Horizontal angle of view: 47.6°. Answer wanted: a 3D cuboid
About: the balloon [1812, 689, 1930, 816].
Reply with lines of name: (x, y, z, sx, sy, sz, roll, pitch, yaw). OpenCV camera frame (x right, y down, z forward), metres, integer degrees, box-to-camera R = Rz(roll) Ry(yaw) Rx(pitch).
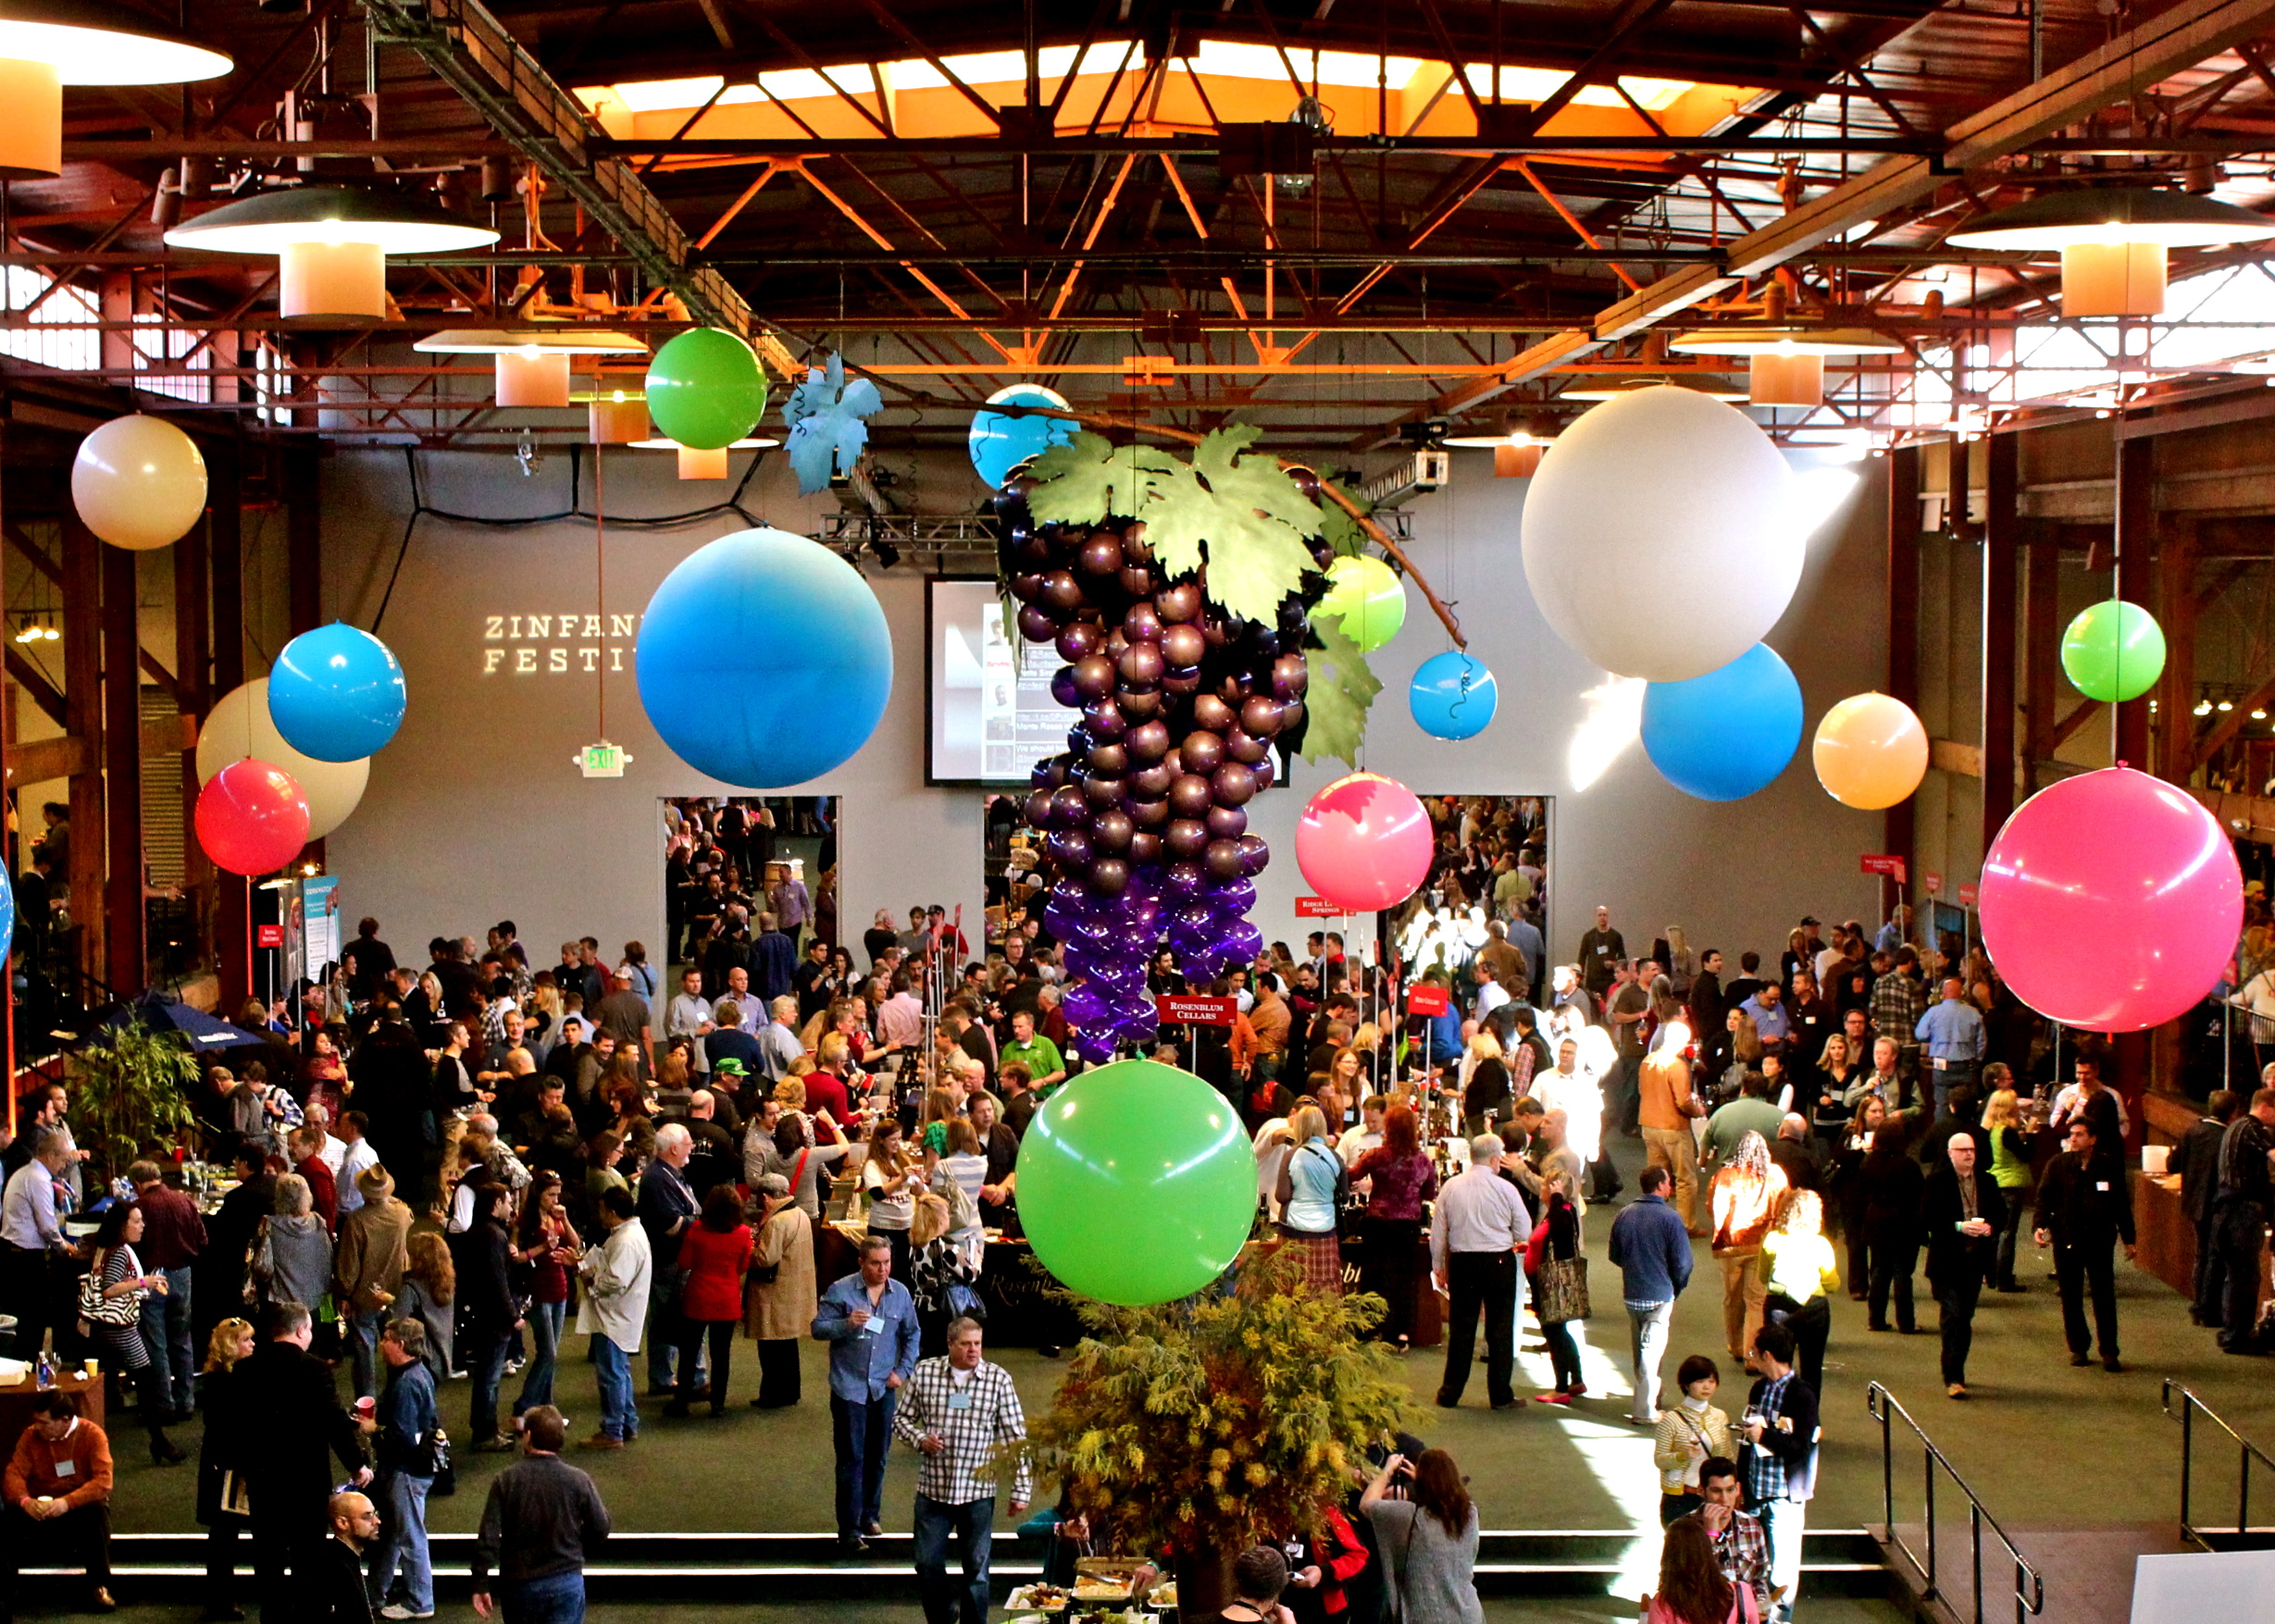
balloon: (4.246, -0.353, 15.066, 0.699, 0.912, 0.744, 0, 6, 8)

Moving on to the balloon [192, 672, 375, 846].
balloon: (-6.175, -0.281, 18.111, 1.080, 1.398, 1.149, 3, 8, 2)

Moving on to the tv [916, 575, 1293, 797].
tv: (-0.283, -0.668, 12.944, 1.923, 1.531, 0.028, 1, 7, 0)

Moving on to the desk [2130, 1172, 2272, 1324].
desk: (6.935, 2.736, 16.979, 0.515, 0.720, 1.065, 1, -2, 9)

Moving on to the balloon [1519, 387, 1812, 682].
balloon: (1.859, -1.030, 9.110, 0.961, 0.981, 0.480, -4, -18, 13)

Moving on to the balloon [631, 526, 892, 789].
balloon: (-1.321, -0.491, 9.125, 0.904, 1.122, 0.910, -1, -2, -29)

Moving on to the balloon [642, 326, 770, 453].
balloon: (-1.985, -1.919, 11.801, 0.553, 0.662, 0.543, -8, 4, -28)

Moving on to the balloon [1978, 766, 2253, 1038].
balloon: (3.425, 0.312, 9.033, 0.907, 1.067, 0.915, 5, 14, 45)

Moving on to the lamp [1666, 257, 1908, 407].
lamp: (3.518, -2.601, 14.330, 1.369, 0.849, 1.449, 0, -2, -3)

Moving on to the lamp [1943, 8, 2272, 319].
lamp: (3.925, -2.490, 10.443, 1.647, 1.316, 1.356, -1, 1, 13)

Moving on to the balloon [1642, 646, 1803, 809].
balloon: (2.693, -0.436, 11.766, 0.637, 0.851, 0.704, 6, 5, 10)

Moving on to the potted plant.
potted plant: (0.283, 2.437, 10.895, 1.512, 1.576, 1.305, -14, 10, -42)

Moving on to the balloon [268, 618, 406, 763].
balloon: (-4.910, -0.738, 15.767, 0.965, 0.986, 1.015, 5, 9, -9)

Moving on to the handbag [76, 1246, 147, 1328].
handbag: (-5.527, 2.566, 13.872, 0.352, 0.394, 0.247, 3, -18, -9)

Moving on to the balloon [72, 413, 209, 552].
balloon: (-5.967, -2.065, 15.415, 0.704, 0.903, 0.674, 9, -20, -24)
